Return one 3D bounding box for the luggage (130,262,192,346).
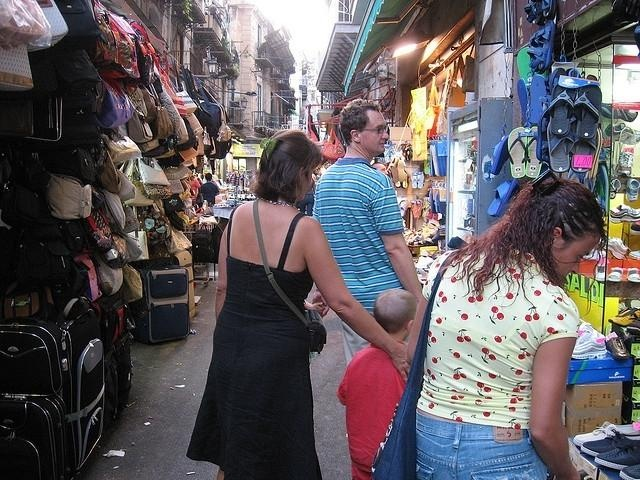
[{"bbox_3d":[-2.089,0.842,7.064,0.635,0.984,0.479,-3,5,-39],"label":"luggage"}]

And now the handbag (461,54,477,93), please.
[{"bbox_3d":[2.062,-2.311,7.266,0.157,0.501,0.291,-8,12,7],"label":"handbag"}]

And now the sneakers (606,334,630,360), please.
[{"bbox_3d":[2.190,0.796,3.876,0.070,0.082,0.197,-3,12,1],"label":"sneakers"}]

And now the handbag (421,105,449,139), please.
[{"bbox_3d":[1.767,-1.826,8.074,0.319,0.533,1.083,-5,7,10],"label":"handbag"}]

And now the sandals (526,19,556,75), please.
[{"bbox_3d":[1.659,-1.430,3.935,0.133,0.381,0.236,3,11,1],"label":"sandals"}]
